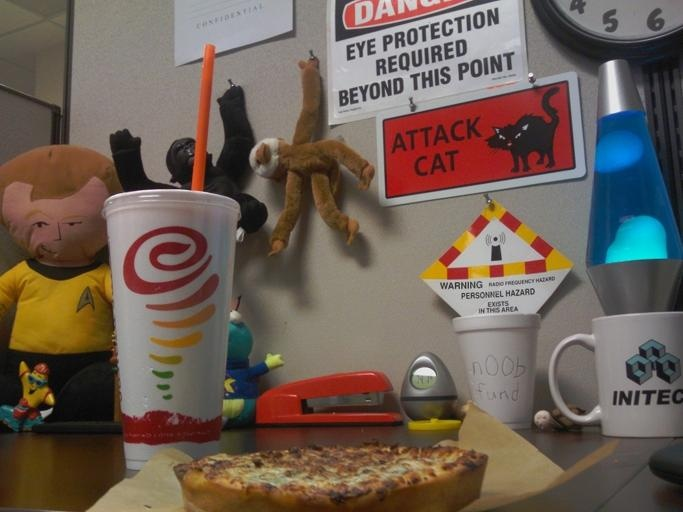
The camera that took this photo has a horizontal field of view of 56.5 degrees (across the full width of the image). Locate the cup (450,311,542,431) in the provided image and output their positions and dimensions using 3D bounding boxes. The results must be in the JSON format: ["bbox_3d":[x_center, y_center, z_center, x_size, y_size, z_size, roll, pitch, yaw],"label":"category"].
[{"bbox_3d":[0.218,0.185,1.020,0.154,0.175,0.156,-2,-11,0],"label":"cup"}]

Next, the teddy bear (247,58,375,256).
[{"bbox_3d":[-0.059,-0.218,1.260,0.258,0.311,0.152,-2,1,10],"label":"teddy bear"}]

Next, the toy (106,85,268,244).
[{"bbox_3d":[-0.263,-0.170,1.147,0.238,0.299,0.183,-19,-28,-22],"label":"toy"}]
